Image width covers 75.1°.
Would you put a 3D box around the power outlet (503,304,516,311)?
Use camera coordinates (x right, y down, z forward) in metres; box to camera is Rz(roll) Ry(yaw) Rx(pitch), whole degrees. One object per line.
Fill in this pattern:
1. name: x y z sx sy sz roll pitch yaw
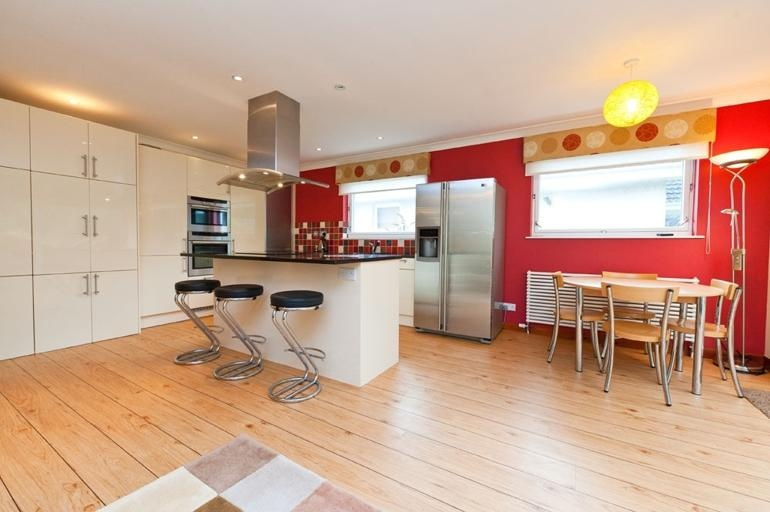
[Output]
1. power outlet: 1.718 0.713 6.860 0.182 0.095 0.038 4 2 28

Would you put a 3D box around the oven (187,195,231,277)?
1. oven: -2.822 -0.260 7.656 0.601 1.129 0.709 2 1 35

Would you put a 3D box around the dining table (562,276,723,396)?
1. dining table: 2.925 0.657 5.550 1.729 1.066 1.367 -1 -1 42

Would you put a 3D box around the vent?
1. vent: -1.320 -1.269 6.224 1.263 1.075 1.393 2 4 29

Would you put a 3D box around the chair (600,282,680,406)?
1. chair: 2.750 0.873 5.441 0.654 1.200 0.982 0 3 24

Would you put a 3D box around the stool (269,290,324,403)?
1. stool: -0.914 0.899 5.238 0.587 1.082 0.707 -2 3 -7
